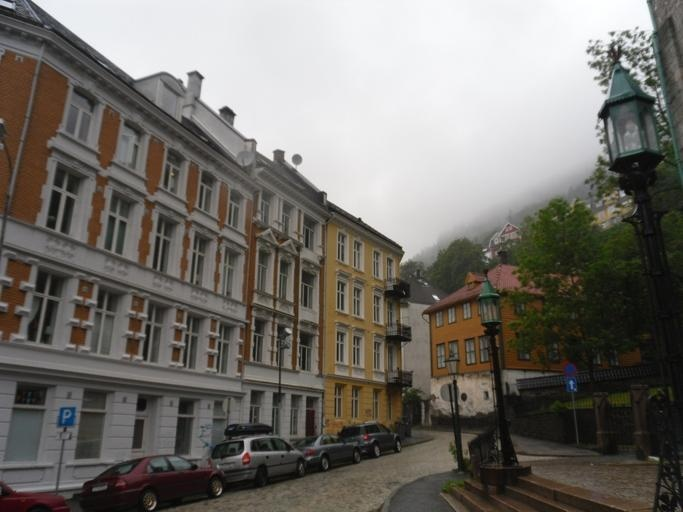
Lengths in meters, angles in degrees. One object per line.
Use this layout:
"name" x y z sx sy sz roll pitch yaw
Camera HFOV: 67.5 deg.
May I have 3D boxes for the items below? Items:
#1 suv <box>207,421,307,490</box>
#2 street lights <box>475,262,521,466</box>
"suv" -3.525 8.388 22.030 2.039 1.851 4.295 -8 -13 30
"street lights" 4.569 2.883 14.958 0.847 4.786 0.859 -9 3 -40
